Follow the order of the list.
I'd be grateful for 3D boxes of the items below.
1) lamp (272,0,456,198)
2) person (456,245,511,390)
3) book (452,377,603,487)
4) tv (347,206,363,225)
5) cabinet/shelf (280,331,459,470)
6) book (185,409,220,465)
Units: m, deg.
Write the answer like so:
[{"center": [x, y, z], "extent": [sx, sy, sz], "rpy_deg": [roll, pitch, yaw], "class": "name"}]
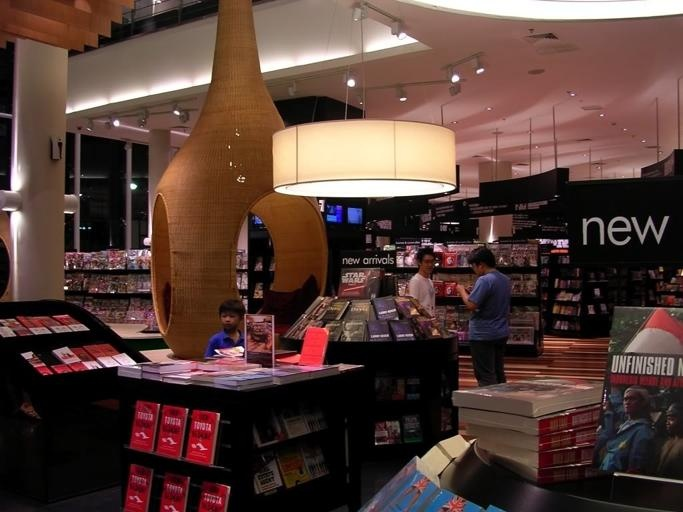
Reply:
[{"center": [0.174, -0.810, 3.330], "extent": [0.730, 0.837, 0.732], "rpy_deg": [-2, -3, 41], "class": "lamp"}, {"center": [1.412, 0.617, 5.250], "extent": [0.497, 1.389, 0.553], "rpy_deg": [0, 1, 16], "class": "person"}, {"center": [0.590, 0.530, 1.693], "extent": [0.281, 0.182, 0.389], "rpy_deg": [-3, -2, 43], "class": "book"}, {"center": [0.253, -0.717, 9.744], "extent": [0.094, 0.323, 0.491], "rpy_deg": [0, 1, 31], "class": "tv"}, {"center": [0.467, 1.154, 4.548], "extent": [0.991, 0.735, 1.019], "rpy_deg": [-4, -13, -2], "class": "cabinet/shelf"}, {"center": [-0.737, 0.963, 2.840], "extent": [0.227, 0.283, 0.081], "rpy_deg": [0, 1, 26], "class": "book"}]
